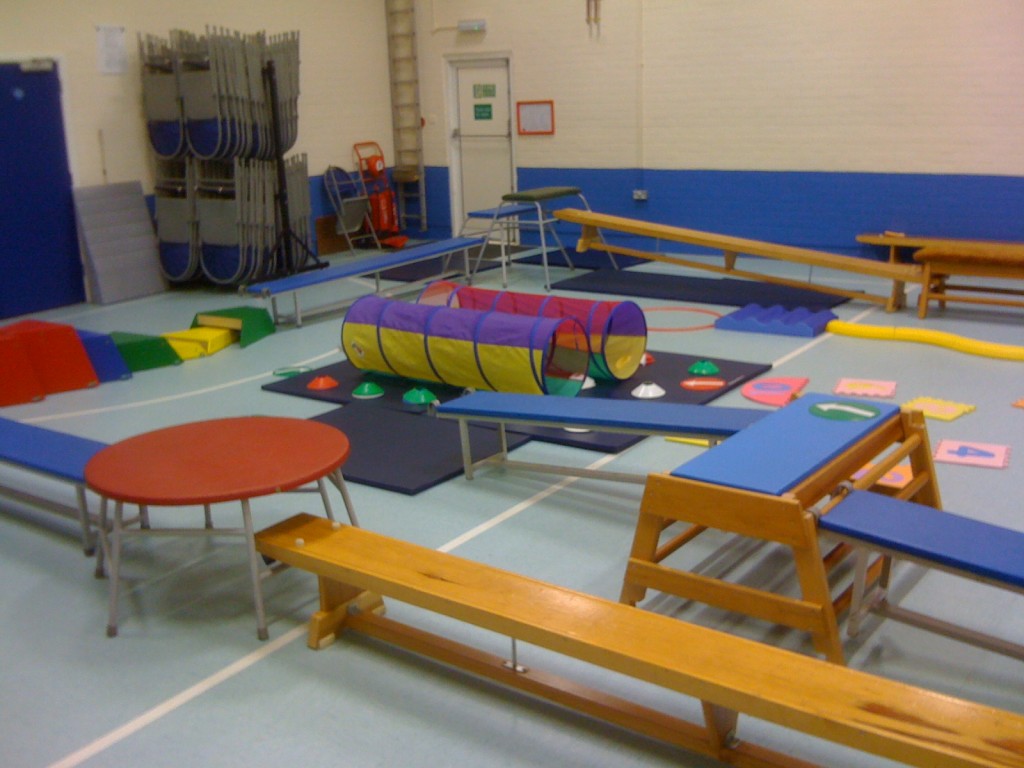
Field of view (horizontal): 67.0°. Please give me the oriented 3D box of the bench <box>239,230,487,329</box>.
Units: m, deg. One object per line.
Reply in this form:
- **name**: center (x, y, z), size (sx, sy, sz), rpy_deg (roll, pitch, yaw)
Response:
- **bench**: center (-1.415, -1.091, 8.045), size (2.450, 0.434, 0.451), rpy_deg (-17, 23, -19)

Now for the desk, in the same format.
- **desk**: center (-1.142, 0.361, 3.237), size (1.025, 0.557, 0.934), rpy_deg (4, 20, 16)

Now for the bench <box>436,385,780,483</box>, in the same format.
- **bench**: center (0.388, 0.323, 3.885), size (1.683, 0.454, 0.443), rpy_deg (4, 15, 40)

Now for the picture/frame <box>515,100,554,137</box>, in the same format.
- **picture/frame**: center (0.333, -3.585, 10.316), size (0.577, 0.443, 0.042), rpy_deg (7, 17, 30)

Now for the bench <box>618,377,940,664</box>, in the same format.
- **bench**: center (1.143, 0.482, 3.145), size (0.790, 0.482, 1.329), rpy_deg (4, 14, 42)
